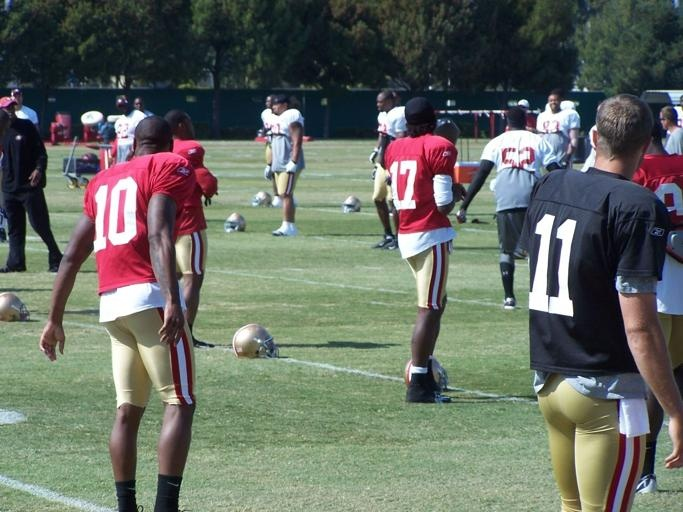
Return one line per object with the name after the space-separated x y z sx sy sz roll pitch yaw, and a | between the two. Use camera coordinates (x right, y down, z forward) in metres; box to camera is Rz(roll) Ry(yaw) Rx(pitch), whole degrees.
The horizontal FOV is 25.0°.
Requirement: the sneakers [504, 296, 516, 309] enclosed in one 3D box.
1.826 0.515 16.971 0.107 0.147 0.328 0 -3 5 | sneakers

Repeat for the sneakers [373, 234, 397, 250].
0.569 -0.192 21.810 0.425 0.198 0.146 -4 5 -23 | sneakers

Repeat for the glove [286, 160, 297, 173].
-0.754 -1.364 23.270 0.160 0.196 0.219 1 7 -1 | glove

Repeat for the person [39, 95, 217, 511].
-1.429 0.423 11.022 0.668 2.731 1.177 -5 8 -44 | person

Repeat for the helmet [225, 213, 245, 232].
-1.580 -0.521 23.866 0.300 0.286 0.221 10 -7 -43 | helmet

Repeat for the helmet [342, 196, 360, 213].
0.181 -0.948 27.738 0.219 0.272 0.314 4 26 -17 | helmet

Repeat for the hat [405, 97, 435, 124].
0.673 -1.292 13.647 0.190 0.209 0.258 -11 1 -3 | hat

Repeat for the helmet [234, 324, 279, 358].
-0.804 0.832 14.431 0.322 0.289 0.304 -18 14 -4 | helmet
